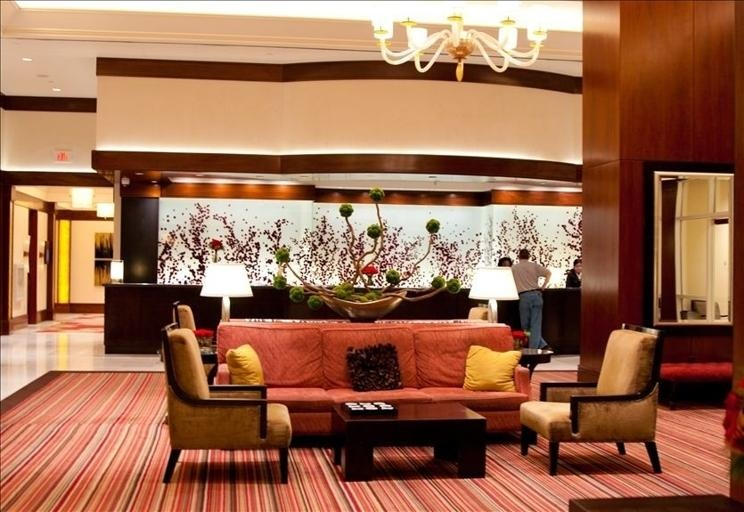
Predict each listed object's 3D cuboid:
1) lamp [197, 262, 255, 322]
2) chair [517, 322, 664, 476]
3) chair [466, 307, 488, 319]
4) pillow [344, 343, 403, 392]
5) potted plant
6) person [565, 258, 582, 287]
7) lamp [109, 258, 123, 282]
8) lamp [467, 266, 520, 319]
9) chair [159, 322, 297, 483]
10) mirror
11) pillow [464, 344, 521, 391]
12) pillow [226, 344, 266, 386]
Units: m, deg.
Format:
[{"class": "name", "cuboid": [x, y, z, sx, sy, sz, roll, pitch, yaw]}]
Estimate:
[{"class": "lamp", "cuboid": [-1.687, 0.421, 7.380, 0.737, 0.815, 0.703, -2, 4, -25]}, {"class": "chair", "cuboid": [2.146, 1.293, 5.717, 1.362, 1.573, 1.151, 2, -5, -4]}, {"class": "chair", "cuboid": [1.422, 0.751, 7.914, 0.198, 0.193, 0.202, 4, 9, 18]}, {"class": "pillow", "cuboid": [-0.003, 1.149, 6.281, 0.480, 0.475, 0.150, -5, -5, -14]}, {"class": "potted plant", "cuboid": [-0.202, -0.115, 11.409, 2.732, 1.852, 0.752, 0, -4, -13]}, {"class": "person", "cuboid": [4.160, 0.341, 12.268, 0.285, 0.536, 1.298, 1, 0, 17]}, {"class": "lamp", "cuboid": [-4.976, 0.300, 11.788, 0.199, 0.466, 0.892, 0, 0, -21]}, {"class": "lamp", "cuboid": [1.465, 0.417, 7.191, 0.615, 0.664, 0.573, -4, 6, -23]}, {"class": "chair", "cuboid": [-1.257, 1.309, 5.485, 1.144, 1.162, 0.933, 1, -5, -6]}, {"class": "mirror", "cuboid": [4.159, -0.148, 7.739, 1.326, 2.099, 0.246, 0, 1, -19]}, {"class": "pillow", "cuboid": [1.294, 1.157, 6.458, 0.704, 0.372, 0.579, 5, 44, 16]}, {"class": "pillow", "cuboid": [-1.227, 1.079, 6.005, 0.275, 0.352, 0.543, 2, 7, 1]}]
